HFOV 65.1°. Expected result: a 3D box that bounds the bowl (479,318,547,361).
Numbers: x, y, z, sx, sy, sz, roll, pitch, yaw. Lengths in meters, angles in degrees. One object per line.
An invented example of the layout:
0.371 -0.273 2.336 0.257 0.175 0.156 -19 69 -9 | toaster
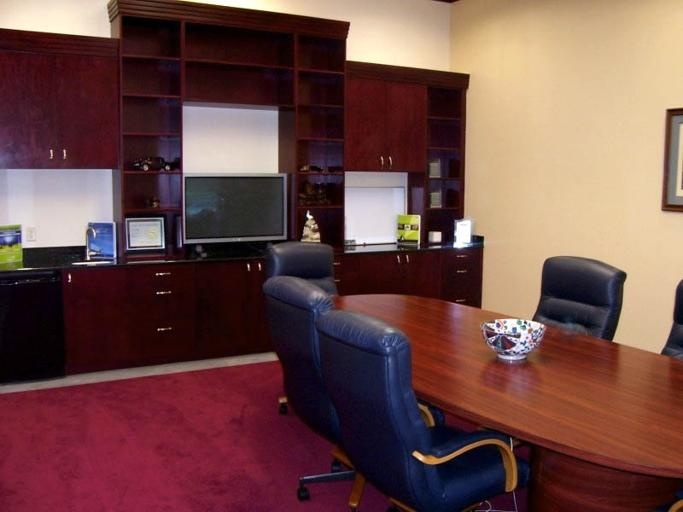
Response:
0.921 0.468 2.931 0.346 0.185 0.359 2 -6 0 | bowl

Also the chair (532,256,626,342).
1.565 0.223 3.684 0.584 0.760 0.494 -2 9 -43 | chair

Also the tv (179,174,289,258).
-1.135 -0.427 5.429 0.759 0.614 0.184 -2 10 -19 | tv
